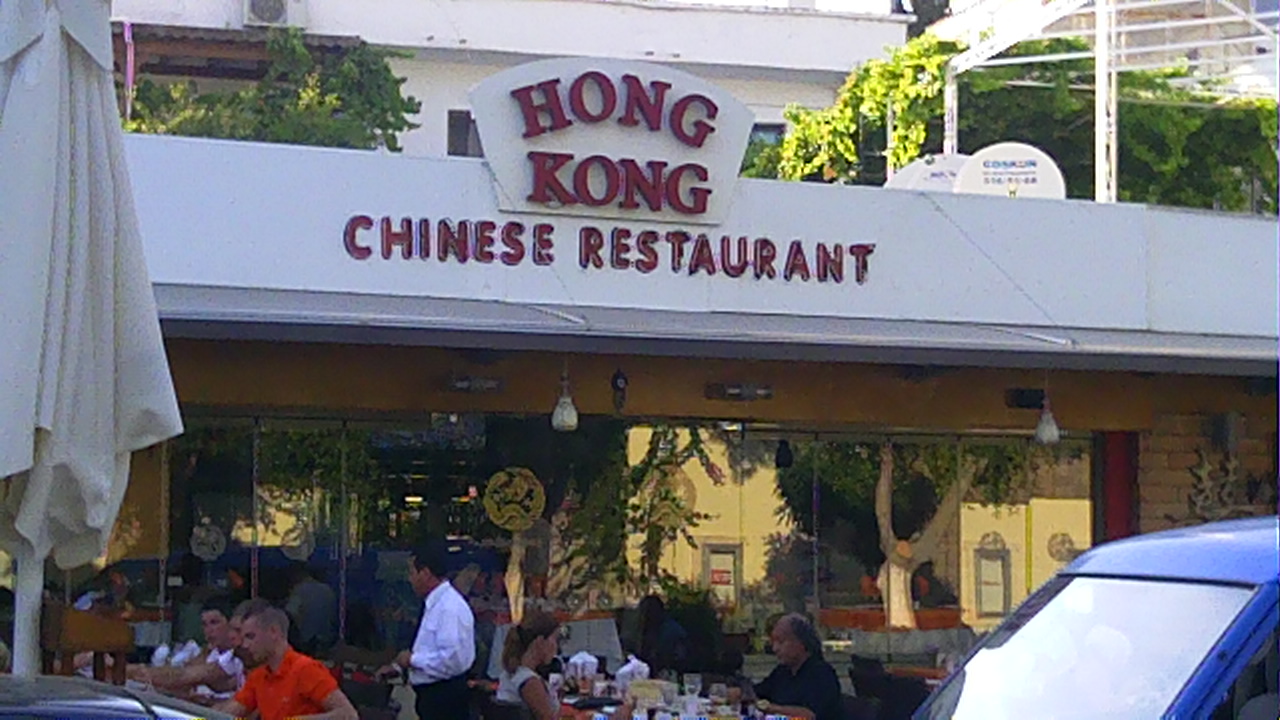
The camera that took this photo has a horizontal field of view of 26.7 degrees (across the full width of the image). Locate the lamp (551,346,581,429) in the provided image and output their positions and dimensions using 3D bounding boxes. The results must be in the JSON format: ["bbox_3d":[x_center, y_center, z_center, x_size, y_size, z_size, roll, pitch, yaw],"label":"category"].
[{"bbox_3d":[-1.047,0.545,38.866,0.404,1.061,0.552,1,-3,-3],"label":"lamp"}]

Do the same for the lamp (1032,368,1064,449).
[{"bbox_3d":[6.043,0.759,39.762,0.380,1.086,0.829,0,-4,9],"label":"lamp"}]

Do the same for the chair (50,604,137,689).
[{"bbox_3d":[-7.442,3.952,36.197,1.165,1.523,1.051,2,-2,-28],"label":"chair"}]
